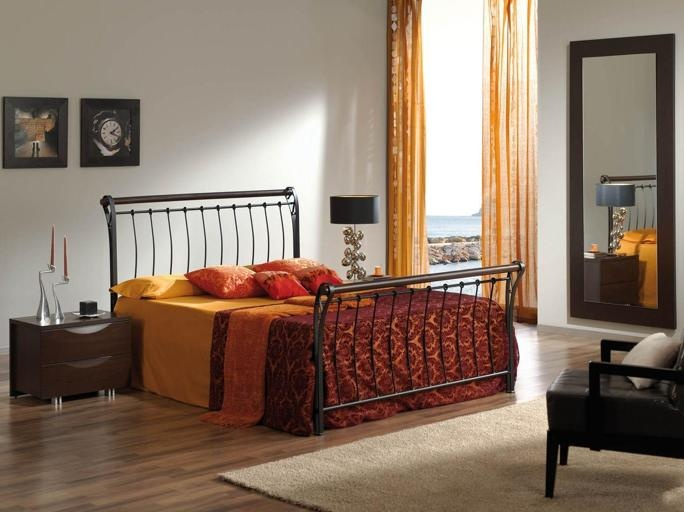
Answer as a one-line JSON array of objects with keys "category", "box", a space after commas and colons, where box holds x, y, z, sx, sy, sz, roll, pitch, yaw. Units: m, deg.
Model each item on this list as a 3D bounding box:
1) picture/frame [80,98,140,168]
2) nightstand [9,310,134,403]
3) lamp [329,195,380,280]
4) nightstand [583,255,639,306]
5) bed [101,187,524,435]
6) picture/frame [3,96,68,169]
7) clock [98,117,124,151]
[{"category": "picture/frame", "box": [-2.277, -1.208, 5.769, 0.666, 0.780, 0.059, -4, 6, -40]}, {"category": "nightstand", "box": [-2.013, 0.543, 4.451, 0.560, 0.676, 0.899, 0, 2, 39]}, {"category": "lamp", "box": [0.114, -0.123, 5.444, 0.445, 0.798, 0.454, -5, -11, 19]}, {"category": "nightstand", "box": [2.735, 0.250, 6.092, 0.473, 0.466, 0.359, -3, 4, -8]}, {"category": "bed", "box": [-0.299, 0.276, 5.048, 2.507, 1.598, 2.831, -3, 7, -40]}, {"category": "picture/frame", "box": [-2.821, -1.136, 5.425, 0.653, 0.804, 0.026, -4, 7, -40]}, {"category": "clock", "box": [-2.241, -1.170, 5.827, 0.255, 0.265, 0.260, 3, -16, 32]}]
